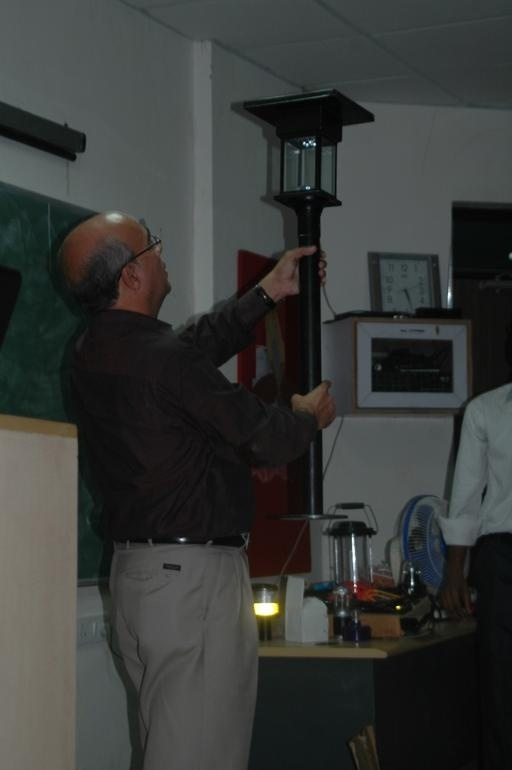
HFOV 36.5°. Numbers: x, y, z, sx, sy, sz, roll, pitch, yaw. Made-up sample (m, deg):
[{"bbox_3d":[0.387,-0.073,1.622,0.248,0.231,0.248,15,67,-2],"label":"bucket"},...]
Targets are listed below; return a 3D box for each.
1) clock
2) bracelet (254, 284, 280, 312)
[{"bbox_3d":[0.606,-0.408,3.189,0.314,0.315,0.043,1,-22,-2],"label":"clock"},{"bbox_3d":[0.025,-0.219,1.987,0.048,0.068,0.073,-43,25,-5],"label":"bracelet"}]
